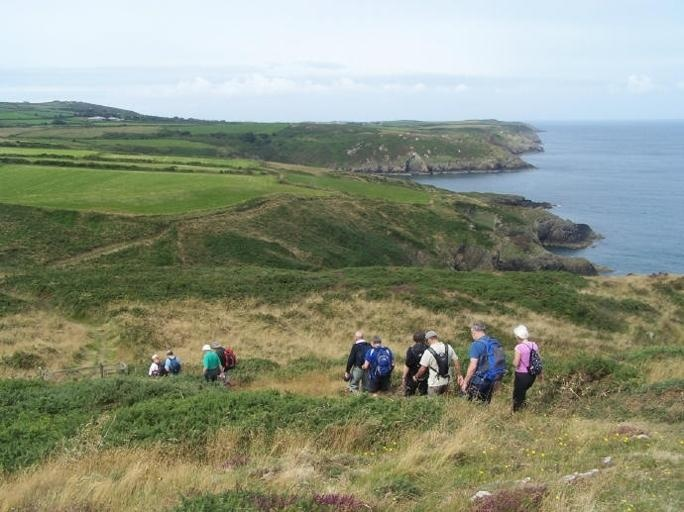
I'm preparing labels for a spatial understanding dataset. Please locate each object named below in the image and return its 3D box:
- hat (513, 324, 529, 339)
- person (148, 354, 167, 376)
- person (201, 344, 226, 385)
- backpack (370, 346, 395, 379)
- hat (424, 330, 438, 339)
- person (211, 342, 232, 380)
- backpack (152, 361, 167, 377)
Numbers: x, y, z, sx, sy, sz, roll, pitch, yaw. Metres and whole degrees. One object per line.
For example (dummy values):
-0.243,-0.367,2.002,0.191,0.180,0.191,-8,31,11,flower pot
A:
4.612,1.980,16.177,0.285,0.358,0.290,3,5,5,hat
-6.209,3.610,20.627,0.365,0.873,0.609,-27,-24,24,person
-4.028,3.406,19.635,0.698,1.141,1.392,2,5,-6,person
1.076,2.992,17.842,0.721,0.867,0.301,3,5,3,backpack
2.385,2.140,17.056,0.227,0.206,0.276,-14,-13,-44,hat
-3.797,3.294,20.459,0.732,0.710,0.534,-10,11,-26,person
-6.048,3.644,20.497,0.483,0.371,0.550,1,5,-17,backpack
